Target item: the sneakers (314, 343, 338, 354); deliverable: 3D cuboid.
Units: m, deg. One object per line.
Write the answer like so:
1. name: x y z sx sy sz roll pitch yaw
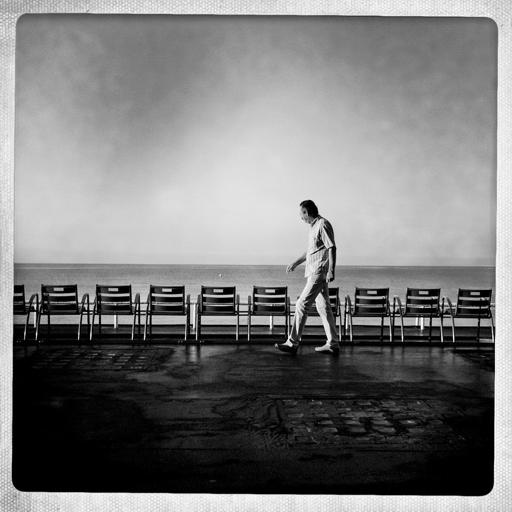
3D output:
1. sneakers: 0.939 1.217 8.542 0.301 0.157 0.114 3 1 34

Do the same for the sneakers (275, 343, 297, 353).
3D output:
1. sneakers: 0.408 1.196 8.456 0.266 0.127 0.344 0 -4 4

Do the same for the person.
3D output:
1. person: 0.731 0.239 8.521 0.718 2.051 1.212 0 -3 7
